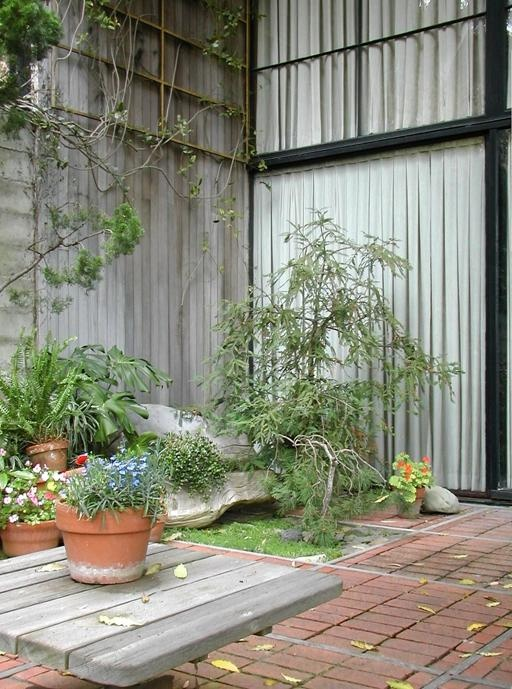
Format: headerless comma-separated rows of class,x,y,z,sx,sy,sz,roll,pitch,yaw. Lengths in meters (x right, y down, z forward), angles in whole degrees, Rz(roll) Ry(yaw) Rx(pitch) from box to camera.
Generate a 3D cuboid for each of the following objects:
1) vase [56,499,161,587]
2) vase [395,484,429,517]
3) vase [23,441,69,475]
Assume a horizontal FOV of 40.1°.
vase,-0.325,0.425,1.515,0.198,0.151,0.201,-6,-13,32
vase,0.988,0.994,4.442,0.195,0.159,0.187,-1,0,15
vase,-1.035,0.562,3.468,0.162,0.122,0.163,-1,-11,-4
